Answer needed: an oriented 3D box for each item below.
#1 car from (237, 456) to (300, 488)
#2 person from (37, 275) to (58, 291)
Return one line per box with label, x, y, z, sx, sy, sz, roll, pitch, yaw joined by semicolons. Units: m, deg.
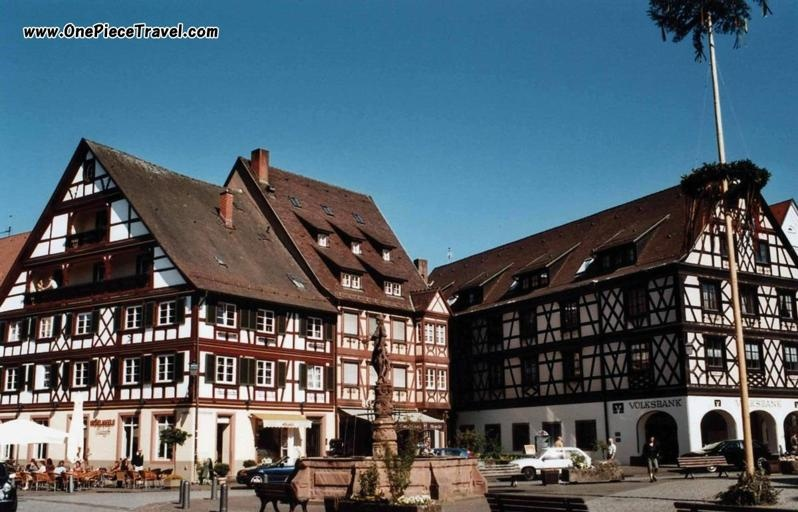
car;-6.551;10.722;45.043;3.692;1.282;1.841;0;-21;1
person;-20.956;1.674;54.357;1.075;0.711;1.690;-2;8;-30
